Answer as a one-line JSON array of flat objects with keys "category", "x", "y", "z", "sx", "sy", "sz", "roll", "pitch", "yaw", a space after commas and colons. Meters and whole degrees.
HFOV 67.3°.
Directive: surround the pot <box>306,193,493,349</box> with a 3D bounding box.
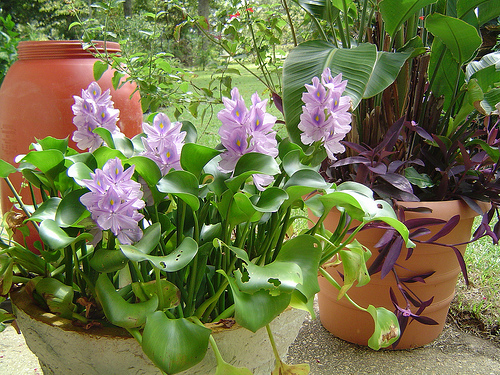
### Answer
[{"category": "pot", "x": 0.582, "y": 0.370, "z": 1.609, "sx": 0.586, "sy": 0.513, "sz": 0.621, "roll": 0, "pitch": 10, "yaw": 0}]
